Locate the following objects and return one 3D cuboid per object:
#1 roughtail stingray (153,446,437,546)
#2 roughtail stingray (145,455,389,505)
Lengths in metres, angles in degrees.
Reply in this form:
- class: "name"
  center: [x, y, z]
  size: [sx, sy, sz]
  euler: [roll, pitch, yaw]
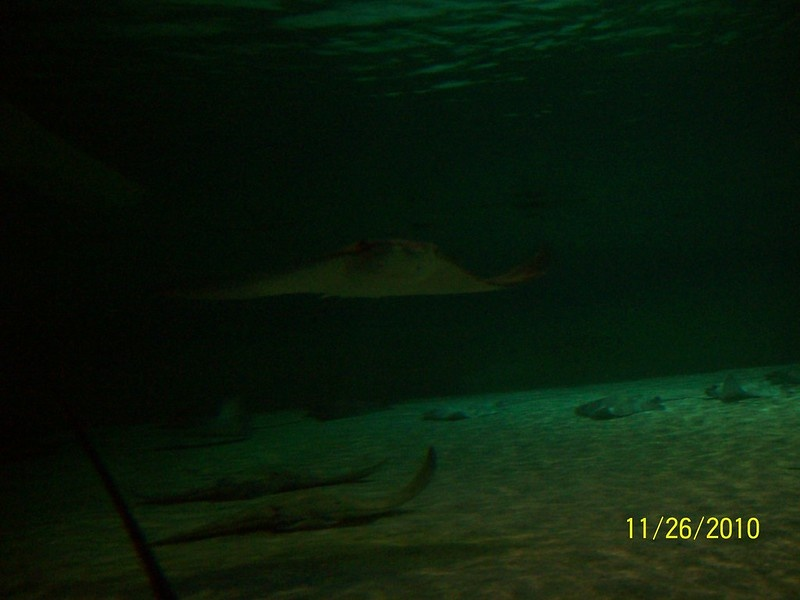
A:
- class: "roughtail stingray"
  center: [-0.829, 1.649, 6.424]
  size: [2.245, 0.382, 0.857]
  euler: [-2, -8, 4]
- class: "roughtail stingray"
  center: [-1.168, 1.634, 6.916]
  size: [2.235, 0.160, 0.295]
  euler: [-8, -9, -2]
